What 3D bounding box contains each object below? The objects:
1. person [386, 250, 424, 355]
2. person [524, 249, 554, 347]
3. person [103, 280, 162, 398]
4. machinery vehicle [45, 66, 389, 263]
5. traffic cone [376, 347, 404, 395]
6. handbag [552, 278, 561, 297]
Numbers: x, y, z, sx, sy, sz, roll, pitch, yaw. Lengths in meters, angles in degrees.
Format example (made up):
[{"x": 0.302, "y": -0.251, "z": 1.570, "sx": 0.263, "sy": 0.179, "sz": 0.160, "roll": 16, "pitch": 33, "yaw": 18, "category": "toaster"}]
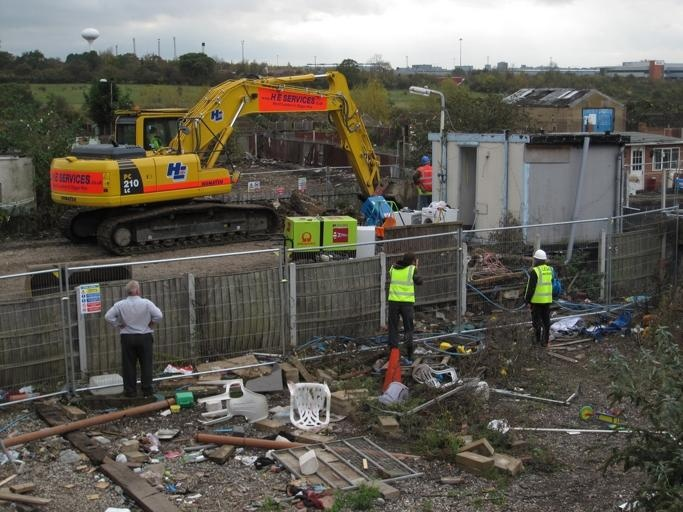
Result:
[{"x": 1.013, "y": 0.793, "z": 12.143, "sx": 0.557, "sy": 1.670, "sz": 0.609, "roll": -2, "pitch": 10, "yaw": 1, "category": "person"}, {"x": 3.484, "y": 0.721, "z": 13.383, "sx": 0.427, "sy": 1.575, "sz": 0.678, "roll": 1, "pitch": 11, "yaw": 21, "category": "person"}, {"x": -2.933, "y": 1.178, "z": 10.862, "sx": 0.755, "sy": 1.619, "sz": 0.379, "roll": -6, "pitch": 11, "yaw": -18, "category": "person"}, {"x": -2.738, "y": -2.635, "z": 20.466, "sx": 8.552, "sy": 3.956, "sz": 3.088, "roll": -6, "pitch": 17, "yaw": -26, "category": "machinery vehicle"}, {"x": 0.744, "y": 1.651, "z": 11.341, "sx": 0.293, "sy": 0.636, "sz": 0.790, "roll": -2, "pitch": 10, "yaw": 3, "category": "traffic cone"}, {"x": 3.903, "y": 0.558, "z": 13.871, "sx": 0.176, "sy": 0.233, "sz": 0.323, "roll": -9, "pitch": 13, "yaw": 12, "category": "handbag"}]
